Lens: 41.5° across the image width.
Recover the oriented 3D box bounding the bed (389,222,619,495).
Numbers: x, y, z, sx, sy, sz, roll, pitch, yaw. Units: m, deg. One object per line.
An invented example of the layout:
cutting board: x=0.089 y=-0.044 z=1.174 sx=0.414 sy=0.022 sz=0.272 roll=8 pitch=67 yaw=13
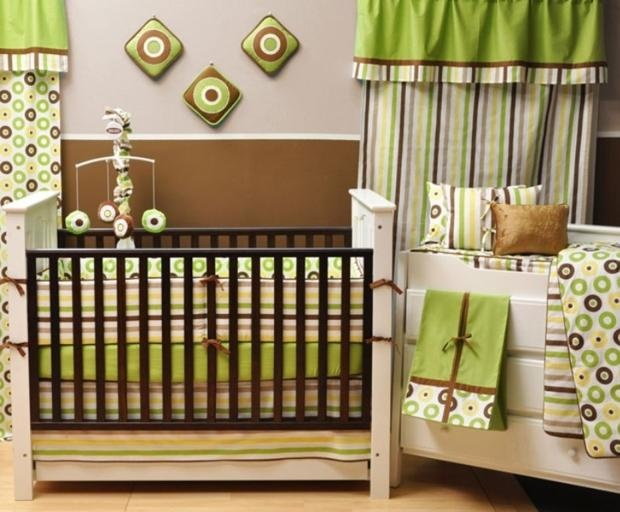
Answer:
bed: x=0.743 y=0.400 z=3.104 sx=0.729 sy=0.802 sz=0.471 roll=8 pitch=34 yaw=15

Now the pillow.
pillow: x=0.753 y=-0.135 z=3.307 sx=0.386 sy=0.402 sz=0.143 roll=1 pitch=-11 yaw=20

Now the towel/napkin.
towel/napkin: x=0.571 y=0.401 z=3.113 sx=0.406 sy=0.608 sz=0.197 roll=8 pitch=3 yaw=25
